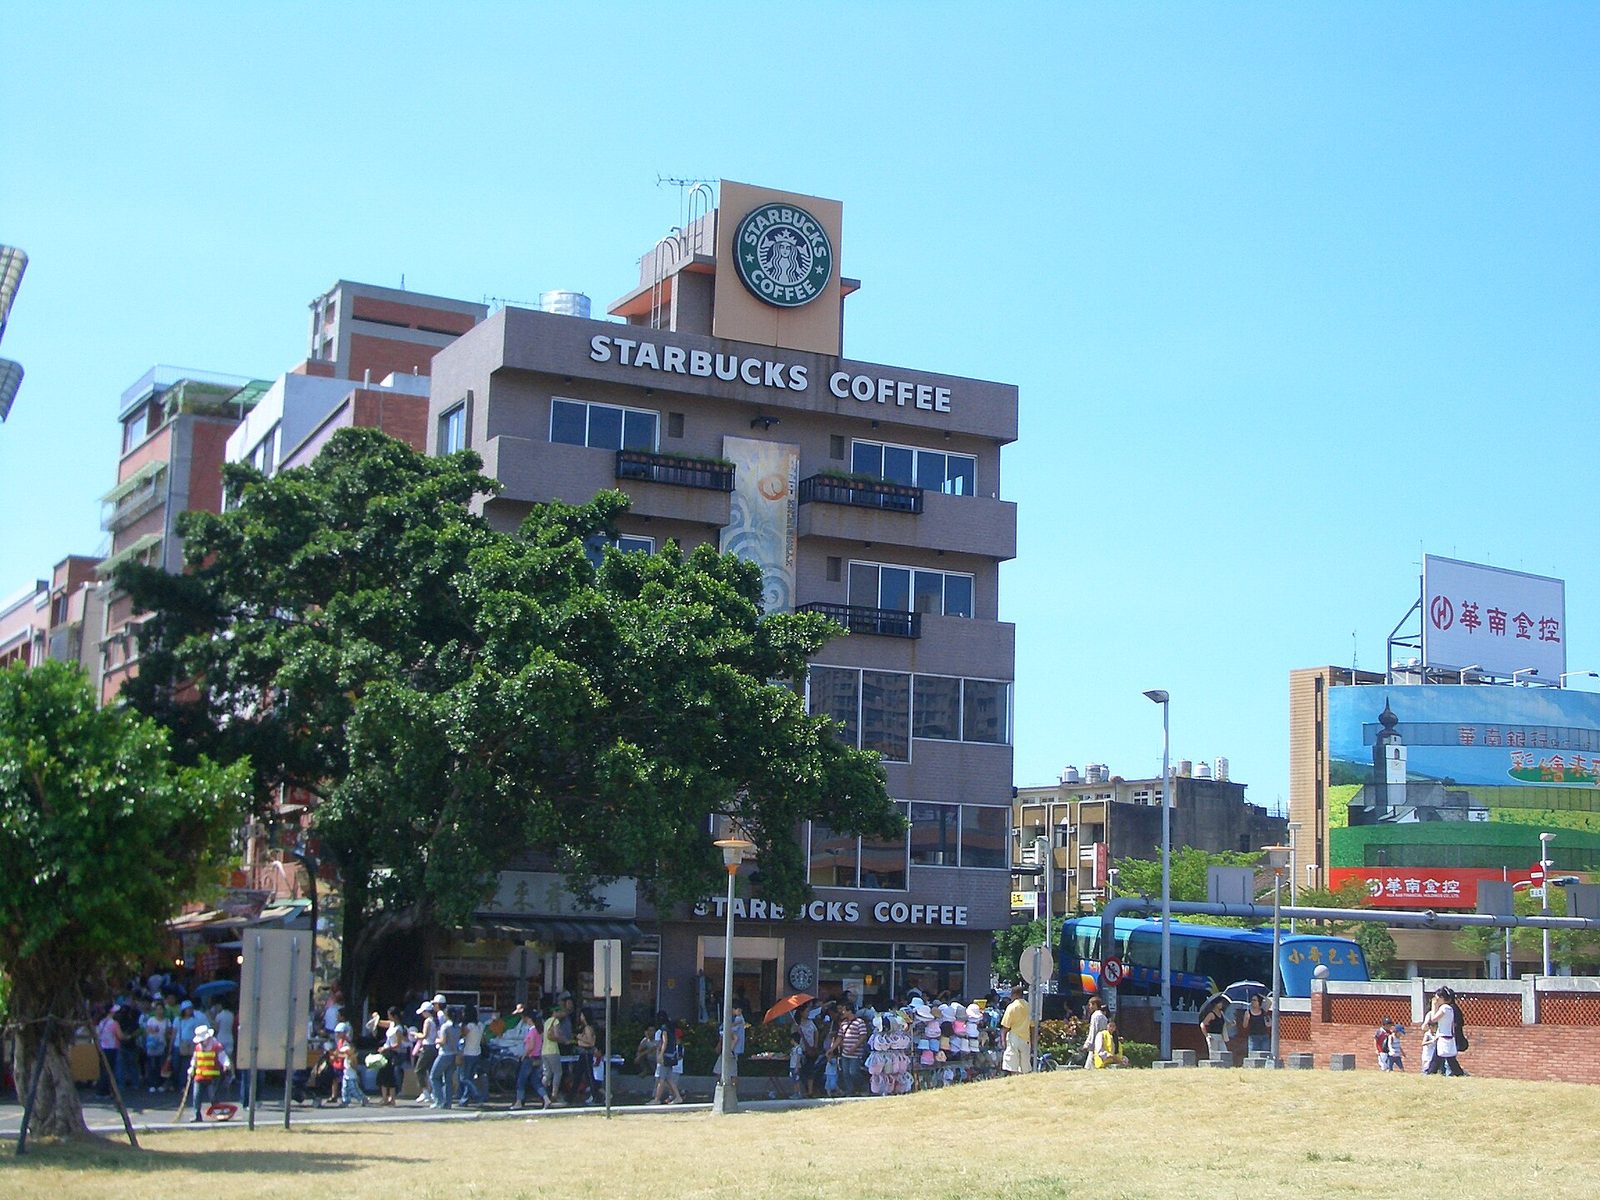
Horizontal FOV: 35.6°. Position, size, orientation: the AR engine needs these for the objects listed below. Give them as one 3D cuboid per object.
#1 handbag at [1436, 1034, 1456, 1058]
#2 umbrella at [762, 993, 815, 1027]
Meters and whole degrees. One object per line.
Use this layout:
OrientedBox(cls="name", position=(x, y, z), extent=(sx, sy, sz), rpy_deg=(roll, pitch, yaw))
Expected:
OrientedBox(cls="handbag", position=(15.059, 10.335, 58.346), extent=(0.554, 0.533, 0.273), rpy_deg=(12, -17, -37))
OrientedBox(cls="umbrella", position=(-0.391, 10.026, 62.035), extent=(0.911, 0.668, 2.947), rpy_deg=(2, -15, -2))
